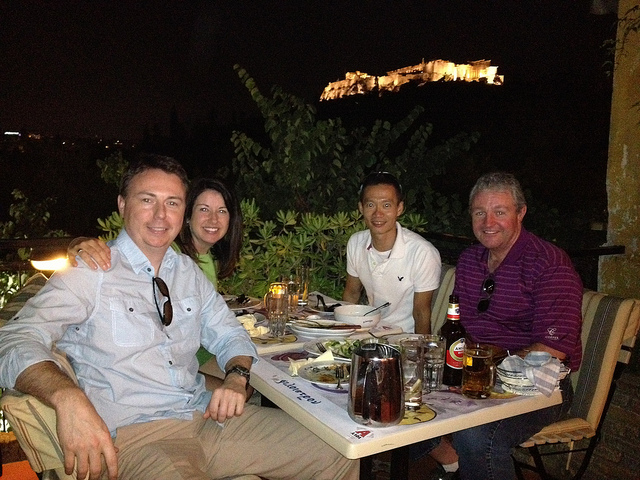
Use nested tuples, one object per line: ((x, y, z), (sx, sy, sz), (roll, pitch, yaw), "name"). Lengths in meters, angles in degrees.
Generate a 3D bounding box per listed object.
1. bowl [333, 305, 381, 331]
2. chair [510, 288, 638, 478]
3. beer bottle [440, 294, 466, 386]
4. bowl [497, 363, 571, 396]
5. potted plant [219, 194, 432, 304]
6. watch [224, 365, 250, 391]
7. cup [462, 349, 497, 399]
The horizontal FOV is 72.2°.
((0.214, 0.448, 2.530), (0.264, 0.091, 0.319), (0, 11, 1), "bowl")
((1.465, 0.706, 2.373), (0.284, 0.720, 0.633), (11, 16, 42), "chair")
((0.541, 0.404, 1.795), (0.093, 0.372, 0.122), (3, 13, 15), "beer bottle")
((0.841, 0.550, 1.798), (0.147, 0.051, 0.140), (0, -2, 0), "bowl")
((-0.229, 0.144, 4.145), (1.415, 0.797, 1.101), (0, -14, -4), "potted plant")
((-0.361, 0.598, 1.911), (0.103, 0.094, 0.068), (3, 12, 15), "watch")
((0.607, 0.518, 1.690), (0.102, 0.182, 0.065), (2, 12, 11), "cup")
